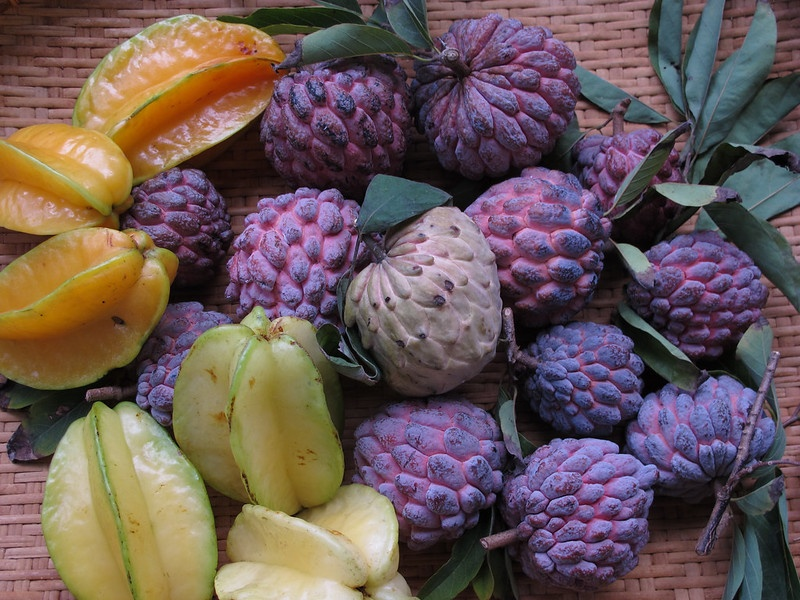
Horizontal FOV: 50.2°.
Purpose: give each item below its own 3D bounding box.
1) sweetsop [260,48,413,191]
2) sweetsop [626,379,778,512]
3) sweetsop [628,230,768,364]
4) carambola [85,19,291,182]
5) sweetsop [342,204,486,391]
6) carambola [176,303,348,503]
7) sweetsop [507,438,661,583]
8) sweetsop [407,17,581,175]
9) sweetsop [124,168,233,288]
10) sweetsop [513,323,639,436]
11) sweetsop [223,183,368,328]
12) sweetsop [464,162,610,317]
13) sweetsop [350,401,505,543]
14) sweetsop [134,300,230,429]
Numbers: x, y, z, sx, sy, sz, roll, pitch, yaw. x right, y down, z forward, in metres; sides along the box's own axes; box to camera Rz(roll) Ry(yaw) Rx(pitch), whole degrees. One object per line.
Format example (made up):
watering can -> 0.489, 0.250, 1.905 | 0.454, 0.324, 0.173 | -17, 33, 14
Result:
sweetsop -> -0.112, -0.318, 1.591 | 0.262, 0.208, 0.181 | -9, 56, -2
sweetsop -> 0.526, 0.234, 1.510 | 0.197, 0.238, 0.125 | -22, 24, -2
sweetsop -> 0.555, 0.000, 1.639 | 0.221, 0.206, 0.218 | -5, 87, -10
carambola -> -0.470, -0.346, 1.727 | 0.175, 0.462, 0.321 | -8, 85, 32
sweetsop -> 0.058, 0.007, 1.495 | 0.253, 0.214, 0.269 | 27, 62, 20
carambola -> -0.223, 0.194, 1.488 | 0.272, 0.109, 0.355 | -4, 99, 12
sweetsop -> 0.321, 0.364, 1.582 | 0.246, 0.220, 0.250 | -2, 86, -7
sweetsop -> 0.192, -0.339, 1.639 | 0.276, 0.316, 0.301 | -9, 67, 35
sweetsop -> -0.407, -0.149, 1.675 | 0.173, 0.193, 0.205 | -32, 52, -24
sweetsop -> 0.320, 0.159, 1.611 | 0.204, 0.192, 0.191 | -5, 35, 0
sweetsop -> -0.183, -0.065, 1.601 | 0.235, 0.108, 0.236 | -43, 85, 1
sweetsop -> 0.242, -0.108, 1.610 | 0.245, 0.227, 0.236 | 17, 57, 7
sweetsop -> 0.059, 0.322, 1.560 | 0.277, 0.236, 0.220 | -9, 56, -2
sweetsop -> -0.401, 0.110, 1.621 | 0.160, 0.098, 0.227 | -14, 61, 23
